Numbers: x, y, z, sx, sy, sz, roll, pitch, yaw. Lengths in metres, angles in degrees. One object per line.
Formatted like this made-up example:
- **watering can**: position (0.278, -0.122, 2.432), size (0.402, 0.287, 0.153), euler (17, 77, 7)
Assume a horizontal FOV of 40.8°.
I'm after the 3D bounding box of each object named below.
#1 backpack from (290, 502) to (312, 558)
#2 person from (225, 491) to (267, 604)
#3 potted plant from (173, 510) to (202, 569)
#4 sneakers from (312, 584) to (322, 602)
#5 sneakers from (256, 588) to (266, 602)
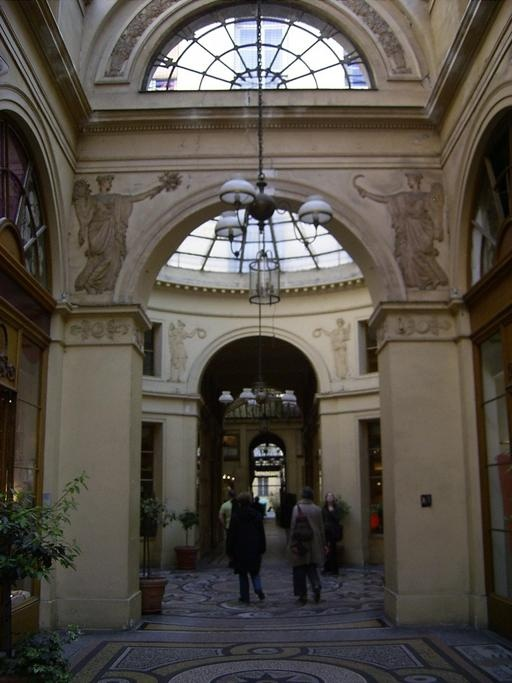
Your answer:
- **backpack**: position (0.565, 2.385, 8.604), size (0.268, 0.639, 0.147), euler (-1, -12, 3)
- **person**: position (-0.130, 2.712, 9.009), size (0.480, 1.391, 1.009), euler (0, -13, -2)
- **potted plant**: position (-1.455, 4.197, 14.645), size (0.482, 1.187, 1.405), euler (1, -13, -6)
- **sneakers**: position (0.776, 3.245, 8.713), size (0.098, 0.324, 0.133), euler (-2, 3, -2)
- **sneakers**: position (0.062, 3.276, 8.956), size (0.088, 0.192, 0.271), euler (0, -3, 1)
